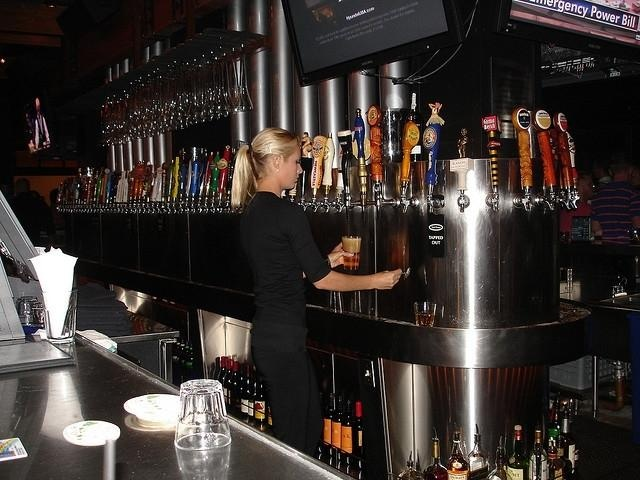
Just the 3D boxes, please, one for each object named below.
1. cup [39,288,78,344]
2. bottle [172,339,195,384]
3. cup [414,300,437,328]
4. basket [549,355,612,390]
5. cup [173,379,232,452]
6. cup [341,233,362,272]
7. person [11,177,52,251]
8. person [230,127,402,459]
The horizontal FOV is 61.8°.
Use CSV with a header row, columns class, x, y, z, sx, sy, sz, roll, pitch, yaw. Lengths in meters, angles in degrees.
class,x,y,z,sx,sy,sz,roll,pitch,yaw
cup,-1.021,0.294,2.096,0.126,0.206,0.119,1,-2,0
bottle,-1.192,1.078,4.684,0.162,0.376,0.519,1,-2,-21
cup,0.489,0.341,2.481,0.100,0.121,0.105,0,-3,0
basket,2.230,1.091,4.466,0.533,0.292,0.256,1,-2,-6
cup,-0.251,0.379,1.165,0.112,0.149,0.112,1,-2,0
cup,0.154,0.058,2.588,0.093,0.155,0.095,2,7,0
person,-4.361,-0.449,8.192,0.590,0.499,1.586,-4,-33,-19
person,-0.076,0.215,2.439,0.586,1.467,0.432,1,-2,-21
